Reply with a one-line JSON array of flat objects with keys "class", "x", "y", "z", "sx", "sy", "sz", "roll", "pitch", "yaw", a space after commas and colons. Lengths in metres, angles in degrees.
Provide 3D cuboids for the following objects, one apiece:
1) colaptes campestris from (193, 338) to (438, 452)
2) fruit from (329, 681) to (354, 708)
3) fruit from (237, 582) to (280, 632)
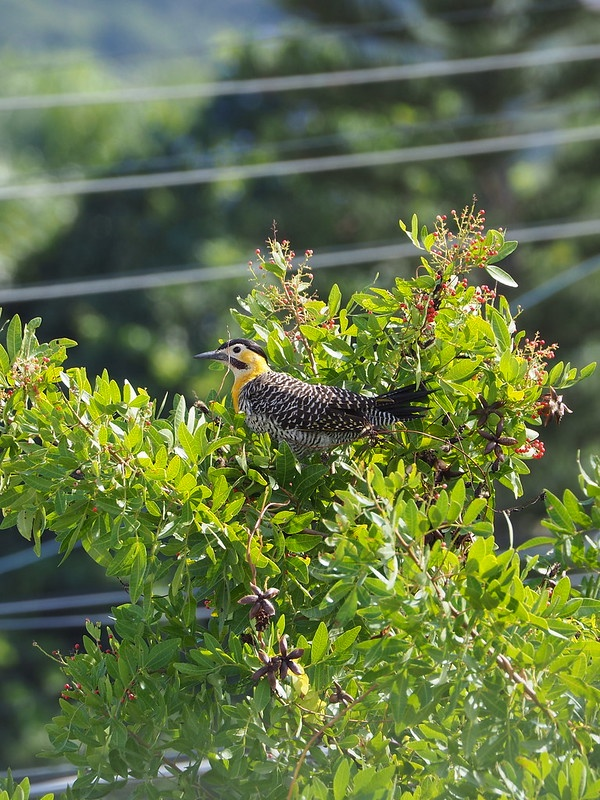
[{"class": "colaptes campestris", "x": 0.034, "y": 0.018, "z": 3.034, "sx": 0.544, "sy": 0.145, "sz": 0.287, "roll": 3, "pitch": 94, "yaw": 17}, {"class": "fruit", "x": 0.092, "y": 0.567, "z": 2.599, "sx": 0.040, "sy": 0.014, "sz": 0.045, "roll": 5, "pitch": 91, "yaw": -5}, {"class": "fruit", "x": -0.070, "y": 0.374, "z": 2.464, "sx": 0.105, "sy": 0.088, "sz": 0.097, "roll": 1, "pitch": 90, "yaw": -6}]
